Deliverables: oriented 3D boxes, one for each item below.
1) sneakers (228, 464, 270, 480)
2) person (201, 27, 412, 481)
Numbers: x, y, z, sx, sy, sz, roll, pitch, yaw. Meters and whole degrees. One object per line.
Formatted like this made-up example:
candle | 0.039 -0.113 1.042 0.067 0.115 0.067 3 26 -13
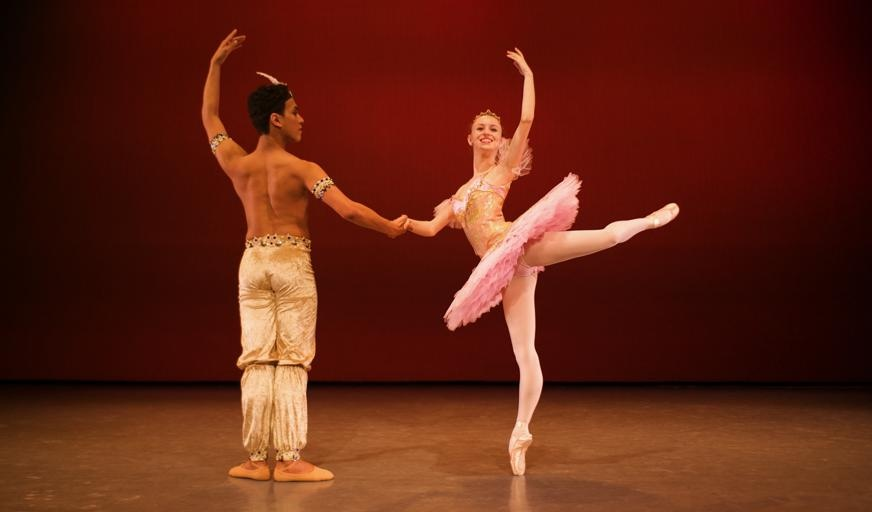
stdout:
sneakers | -1.493 1.745 6.463 0.274 0.092 0.138 4 -6 9
person | -1.245 0.023 6.536 1.037 3.649 1.072 -4 10 -28
